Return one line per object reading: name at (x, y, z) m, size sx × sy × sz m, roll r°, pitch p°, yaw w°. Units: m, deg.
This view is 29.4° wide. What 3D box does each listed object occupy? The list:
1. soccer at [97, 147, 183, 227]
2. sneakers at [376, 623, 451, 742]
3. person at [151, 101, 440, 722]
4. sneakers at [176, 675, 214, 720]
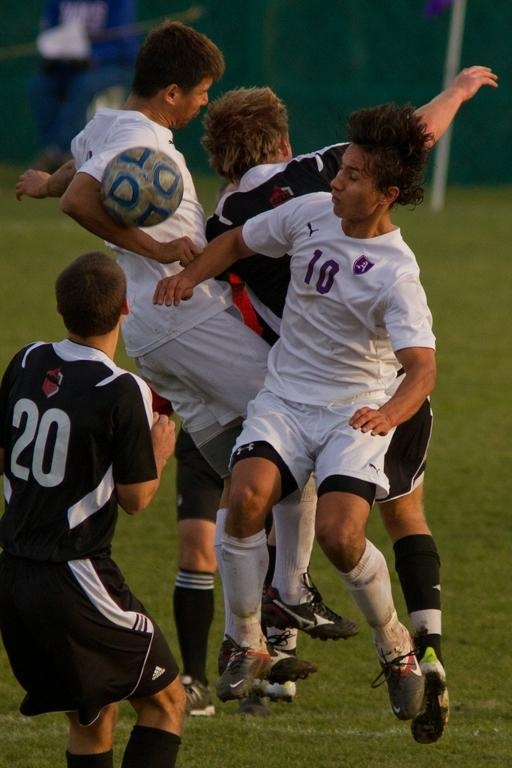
soccer at (-0.352, -0.588, 2.874) m, size 0.192 × 0.156 × 0.144 m, roll 24°, pitch 36°, yaw -30°
sneakers at (0.478, 0.878, 2.893) m, size 0.123 × 0.318 × 0.160 m, roll -17°, pitch -21°, yaw 41°
person at (0.152, -0.009, 2.815) m, size 0.675 × 1.529 × 0.875 m, roll 1°, pitch 23°, yaw -1°
sneakers at (-0.197, 1.081, 3.359) m, size 0.117 × 0.117 × 0.284 m, roll -4°, pitch -14°, yaw 13°
